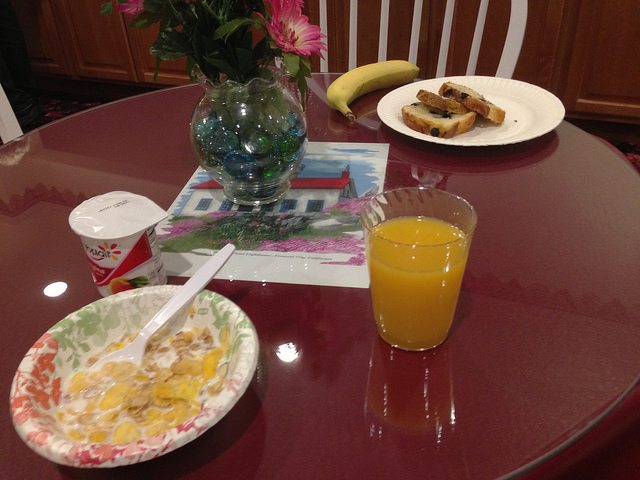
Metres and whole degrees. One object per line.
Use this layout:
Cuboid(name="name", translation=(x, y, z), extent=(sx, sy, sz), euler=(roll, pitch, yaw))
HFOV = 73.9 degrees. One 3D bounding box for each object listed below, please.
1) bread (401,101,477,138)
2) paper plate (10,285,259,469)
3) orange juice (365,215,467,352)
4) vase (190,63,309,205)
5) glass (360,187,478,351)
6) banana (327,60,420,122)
Cuboid(name="bread", translation=(0.285, -0.302, 0.993), extent=(0.112, 0.090, 0.172), euler=(-16, 29, -32))
Cuboid(name="paper plate", translation=(-0.207, 0.144, 0.496), extent=(0.270, 0.054, 0.229), euler=(-9, 43, -9))
Cuboid(name="orange juice", translation=(0.119, 0.040, 0.555), extent=(0.124, 0.145, 0.134), euler=(9, 41, 12))
Cuboid(name="vase", translation=(-0.122, -0.179, 0.818), extent=(0.164, 0.270, 0.152), euler=(15, 30, 29))
Cuboid(name="glass", translation=(0.128, 0.042, 0.570), extent=(0.127, 0.177, 0.147), euler=(-5, 25, -3))
Cuboid(name="banana", translation=(0.138, -0.374, 1.093), extent=(0.230, 0.071, 0.131), euler=(-33, 58, -19))
